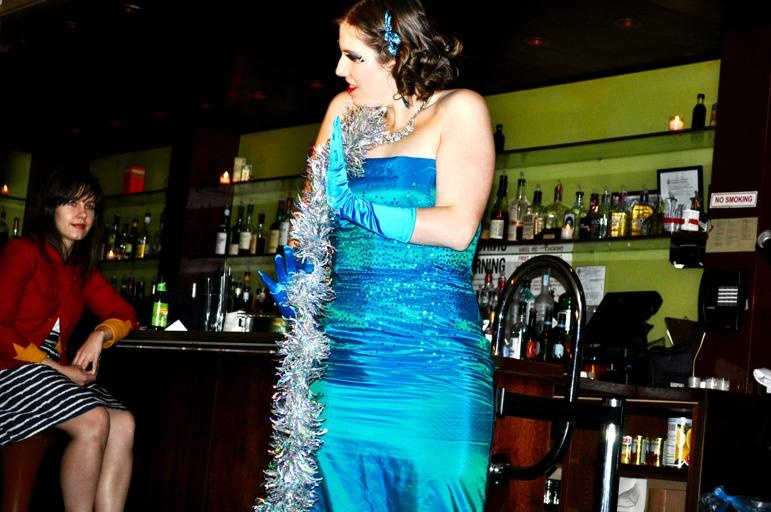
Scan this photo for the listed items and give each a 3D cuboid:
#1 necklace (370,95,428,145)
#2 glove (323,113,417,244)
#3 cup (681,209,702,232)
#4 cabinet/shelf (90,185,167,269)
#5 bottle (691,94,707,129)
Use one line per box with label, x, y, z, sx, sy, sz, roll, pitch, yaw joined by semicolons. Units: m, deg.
necklace;0.038;-0.367;1.754;0.108;0.152;0.035;27;-3;20
glove;-0.060;-0.164;1.587;0.231;0.309;0.090;-7;-12;-39
cup;1.996;-0.236;4.120;0.110;0.149;0.061;1;-8;21
cabinet/shelf;-2.968;-0.285;7.359;0.847;0.718;0.247;-3;-8;14
bottle;2.177;-1.004;4.375;0.087;0.344;0.324;0;-8;28
